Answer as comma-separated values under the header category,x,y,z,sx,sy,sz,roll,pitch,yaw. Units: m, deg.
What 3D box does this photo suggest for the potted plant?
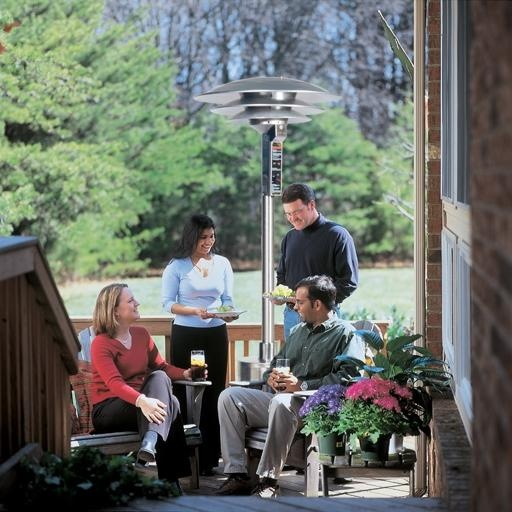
category,x,y,z,sx,sy,sz,roll,pitch,yaw
potted plant,0.721,0.672,5.452,0.484,0.399,0.498,10,7,43

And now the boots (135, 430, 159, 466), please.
category,x,y,z,sx,sy,sz,roll,pitch,yaw
boots,-0.557,0.982,5.593,0.067,0.158,0.220,7,-18,0

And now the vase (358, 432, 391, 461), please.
category,x,y,z,sx,sy,sz,roll,pitch,yaw
vase,0.600,0.951,5.394,0.120,0.140,0.137,3,-8,-31

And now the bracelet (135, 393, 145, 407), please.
category,x,y,z,sx,sy,sz,roll,pitch,yaw
bracelet,-0.609,0.758,5.662,0.046,0.058,0.050,0,24,-39

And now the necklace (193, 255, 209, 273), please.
category,x,y,z,sx,sy,sz,roll,pitch,yaw
necklace,-0.325,0.062,6.485,0.081,0.085,0.020,-38,11,-13

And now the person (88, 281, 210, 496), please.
category,x,y,z,sx,sy,sz,roll,pitch,yaw
person,-0.572,0.671,5.892,0.546,1.056,0.619,0,-1,-42

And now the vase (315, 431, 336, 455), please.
category,x,y,z,sx,sy,sz,roll,pitch,yaw
vase,0.368,0.954,5.466,0.088,0.089,0.106,1,-9,-5

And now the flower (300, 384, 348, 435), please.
category,x,y,z,sx,sy,sz,roll,pitch,yaw
flower,0.343,0.786,5.477,0.258,0.287,0.208,-1,-3,-39

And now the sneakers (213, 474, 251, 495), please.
category,x,y,z,sx,sy,sz,roll,pitch,yaw
sneakers,-0.120,1.225,5.759,0.220,0.112,0.082,2,-5,-8

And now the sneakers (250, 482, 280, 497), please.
category,x,y,z,sx,sy,sz,roll,pitch,yaw
sneakers,0.051,1.224,5.609,0.149,0.092,0.243,-1,-1,1

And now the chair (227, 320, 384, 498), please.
category,x,y,z,sx,sy,sz,roll,pitch,yaw
chair,0.174,0.779,5.920,0.775,0.965,0.598,6,-5,-36

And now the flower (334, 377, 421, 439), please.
category,x,y,z,sx,sy,sz,roll,pitch,yaw
flower,0.635,0.727,5.367,0.305,0.245,0.303,4,-5,-24

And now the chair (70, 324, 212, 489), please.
category,x,y,z,sx,sy,sz,roll,pitch,yaw
chair,-0.638,0.853,6.321,0.683,1.080,0.928,2,-3,-43
